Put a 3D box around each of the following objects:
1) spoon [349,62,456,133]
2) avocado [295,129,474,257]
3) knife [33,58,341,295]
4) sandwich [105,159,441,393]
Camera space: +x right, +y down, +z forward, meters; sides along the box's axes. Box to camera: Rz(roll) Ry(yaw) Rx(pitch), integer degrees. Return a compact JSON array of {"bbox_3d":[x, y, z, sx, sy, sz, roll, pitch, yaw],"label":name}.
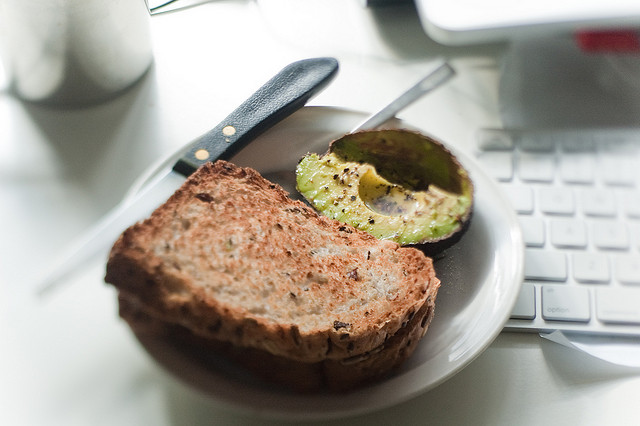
[{"bbox_3d":[0.152,-0.202,1.043,0.307,0.011,0.039,-33,76,-27],"label":"spoon"},{"bbox_3d":[0.093,-0.019,0.932,0.239,0.069,0.185,20,64,7],"label":"avocado"},{"bbox_3d":[-0.008,-0.206,1.117,0.150,0.065,1.073,36,54,23],"label":"knife"},{"bbox_3d":[-0.059,0.092,0.780,0.392,0.091,0.271,27,68,11],"label":"sandwich"}]
